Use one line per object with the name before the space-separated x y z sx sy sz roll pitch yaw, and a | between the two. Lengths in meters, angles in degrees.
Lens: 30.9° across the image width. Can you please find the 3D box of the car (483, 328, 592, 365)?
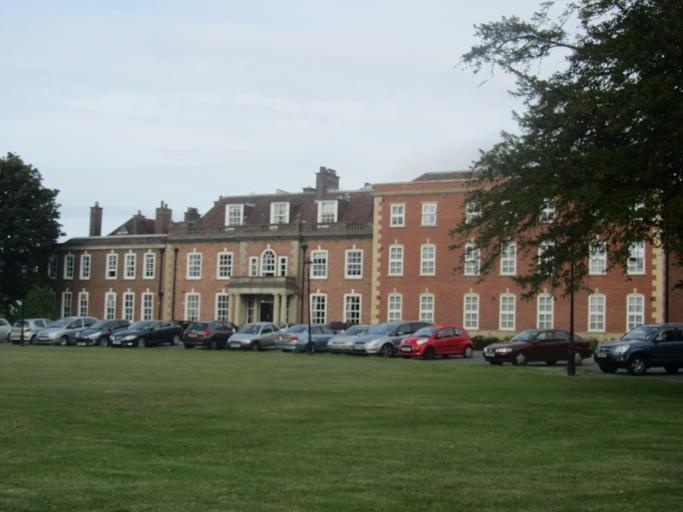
car | 7.078 3.270 44.599 4.035 1.352 1.036 3 -9 -24
